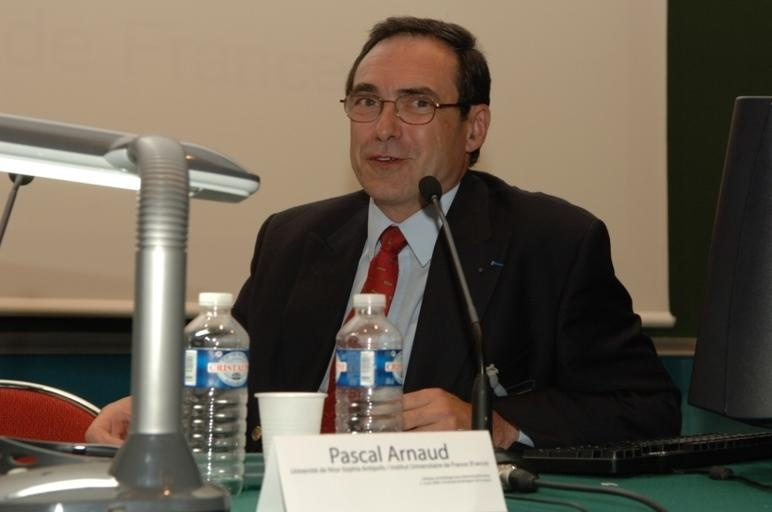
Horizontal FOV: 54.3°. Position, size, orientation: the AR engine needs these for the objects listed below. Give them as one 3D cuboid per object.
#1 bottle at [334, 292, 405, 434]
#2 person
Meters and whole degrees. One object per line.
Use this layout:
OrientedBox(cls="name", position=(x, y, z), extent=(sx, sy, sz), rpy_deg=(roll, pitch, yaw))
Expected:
OrientedBox(cls="bottle", position=(-0.029, 0.213, 1.542), extent=(0.151, 0.287, 0.427), rpy_deg=(-1, -10, -4))
OrientedBox(cls="person", position=(0.027, -0.047, 2.567), extent=(2.050, 1.383, 0.962), rpy_deg=(5, 2, 37))
